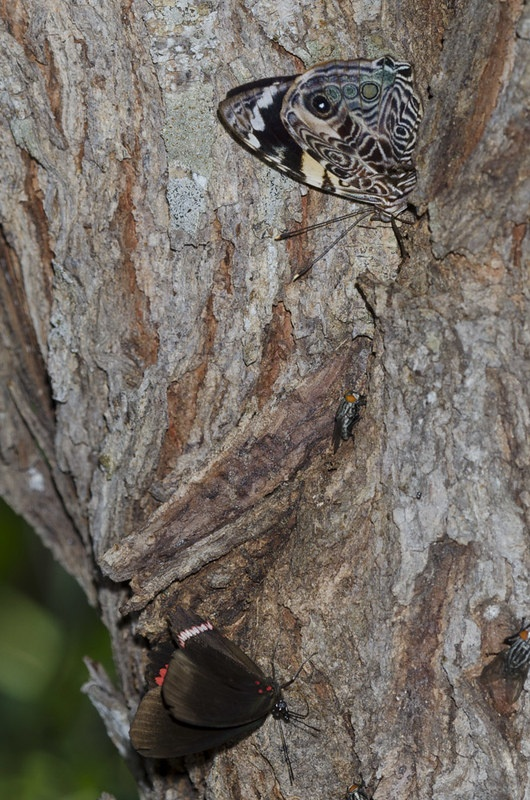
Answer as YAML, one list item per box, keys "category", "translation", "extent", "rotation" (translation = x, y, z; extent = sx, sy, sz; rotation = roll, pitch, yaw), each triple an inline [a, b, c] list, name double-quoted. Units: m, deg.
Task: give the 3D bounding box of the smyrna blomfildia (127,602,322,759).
- category: "smyrna blomfildia"
  translation: [-0.135, 0.939, 3.996]
  extent: [0.445, 0.257, 0.565]
  rotation: [18, 62, -19]

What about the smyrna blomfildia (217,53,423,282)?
- category: "smyrna blomfildia"
  translation: [0.217, -0.825, 3.958]
  extent: [0.535, 0.635, 0.512]
  rotation: [-6, 29, 42]

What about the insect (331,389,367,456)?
- category: "insect"
  translation: [0.264, 0.060, 4.031]
  extent: [0.076, 0.222, 0.079]
  rotation: [18, -1, 36]
